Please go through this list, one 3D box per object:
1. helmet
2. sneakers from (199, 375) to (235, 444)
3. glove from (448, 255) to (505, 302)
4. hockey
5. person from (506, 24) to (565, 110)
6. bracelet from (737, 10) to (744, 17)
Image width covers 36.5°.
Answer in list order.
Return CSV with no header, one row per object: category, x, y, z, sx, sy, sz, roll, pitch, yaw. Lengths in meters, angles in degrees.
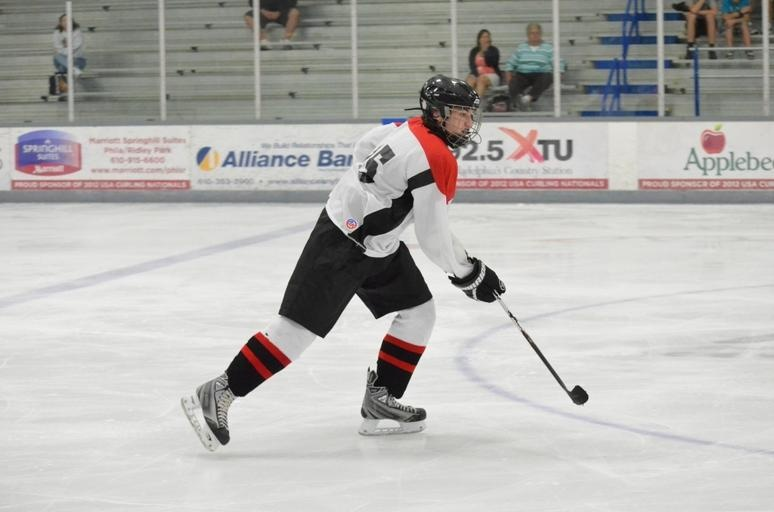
helmet,0.368,-1.142,9.118,0.628,0.426,0.440,9,3,5
sneakers,-1.302,1.182,8.946,0.279,0.563,0.172,-1,9,-7
glove,0.722,0.180,9.097,0.375,0.145,0.432,-11,29,-39
hockey,1.320,0.820,10.268,0.246,1.170,0.077,-41,-1,-29
person,2.221,-2.964,18.271,0.706,1.301,0.230,0,9,-1
bracelet,5.832,-4.022,19.397,0.086,0.086,0.014,2,9,11
